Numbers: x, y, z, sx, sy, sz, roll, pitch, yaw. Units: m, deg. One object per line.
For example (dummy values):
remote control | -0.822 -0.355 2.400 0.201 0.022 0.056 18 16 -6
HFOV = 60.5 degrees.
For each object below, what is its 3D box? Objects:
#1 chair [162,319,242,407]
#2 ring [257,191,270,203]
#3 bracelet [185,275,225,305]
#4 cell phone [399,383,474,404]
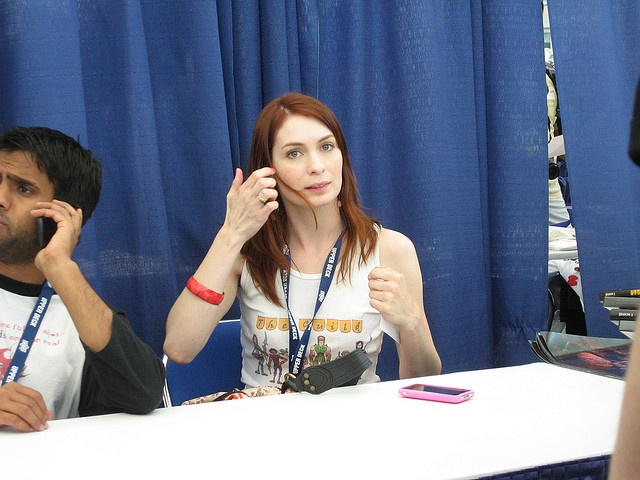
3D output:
chair | -0.372 0.374 1.778 0.193 0.229 0.277 3 5 16
ring | -0.167 -0.127 1.615 0.025 0.013 0.032 29 -1 -16
bracelet | -0.343 0.152 1.632 0.083 0.031 0.084 34 -7 -21
cell phone | 0.269 0.356 1.281 0.111 0.019 0.061 0 1 25
